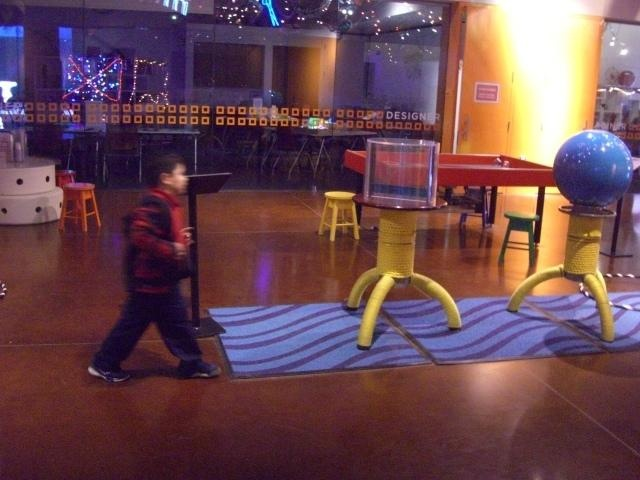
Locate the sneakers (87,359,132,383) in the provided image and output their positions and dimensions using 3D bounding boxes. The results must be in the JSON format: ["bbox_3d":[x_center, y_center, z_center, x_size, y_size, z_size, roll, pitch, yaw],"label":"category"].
[{"bbox_3d":[-1.313,0.810,3.177,0.212,0.096,0.118,8,6,5],"label":"sneakers"}]

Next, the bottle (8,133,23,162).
[{"bbox_3d":[-4.179,-1.295,7.088,0.152,0.378,0.304,-6,16,-26],"label":"bottle"}]

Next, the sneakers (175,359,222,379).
[{"bbox_3d":[-0.779,0.821,3.308,0.276,0.151,0.108,1,7,-9],"label":"sneakers"}]

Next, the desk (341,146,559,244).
[{"bbox_3d":[1.967,-0.539,6.769,2.023,1.118,2.752,13,18,35],"label":"desk"}]

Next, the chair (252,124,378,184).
[{"bbox_3d":[-0.218,-1.646,9.409,1.481,0.792,1.316,-4,17,-22],"label":"chair"}]
